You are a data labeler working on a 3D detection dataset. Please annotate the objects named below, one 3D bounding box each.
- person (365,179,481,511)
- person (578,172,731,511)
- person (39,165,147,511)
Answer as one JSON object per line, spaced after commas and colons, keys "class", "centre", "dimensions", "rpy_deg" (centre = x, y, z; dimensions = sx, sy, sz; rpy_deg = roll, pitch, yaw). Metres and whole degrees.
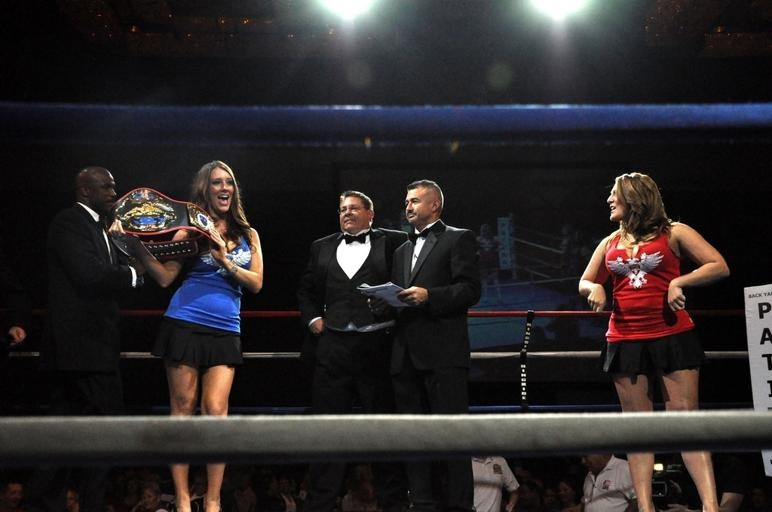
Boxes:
{"class": "person", "centre": [0.231, 0.391, 3.309], "dimensions": [0.420, 1.477, 0.682], "rpy_deg": [-1, 7, 2]}
{"class": "person", "centre": [1.119, 0.361, 2.982], "dimensions": [0.592, 1.415, 0.760], "rpy_deg": [1, 7, 13]}
{"class": "person", "centre": [-1.257, 0.344, 2.961], "dimensions": [0.438, 1.430, 0.539], "rpy_deg": [-2, 8, -12]}
